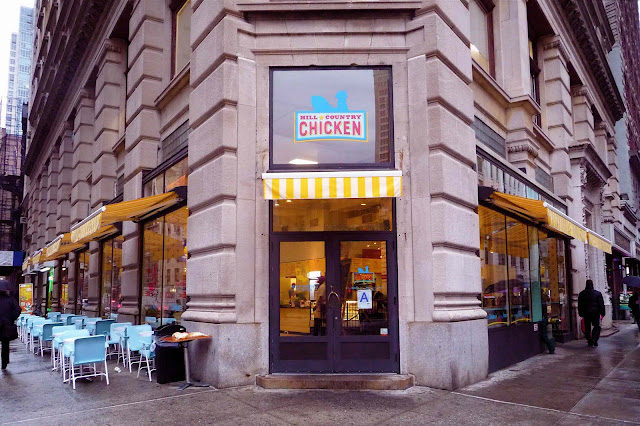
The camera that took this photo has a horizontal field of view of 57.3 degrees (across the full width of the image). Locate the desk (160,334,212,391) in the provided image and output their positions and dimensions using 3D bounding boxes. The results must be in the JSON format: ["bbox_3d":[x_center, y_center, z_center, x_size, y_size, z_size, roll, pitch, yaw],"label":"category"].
[{"bbox_3d":[-4.054,4.378,17.606,1.549,1.577,1.521,2,-3,-43],"label":"desk"}]
